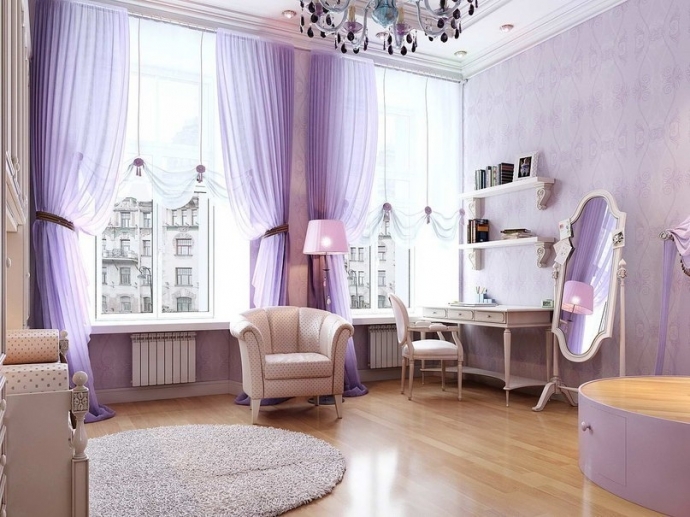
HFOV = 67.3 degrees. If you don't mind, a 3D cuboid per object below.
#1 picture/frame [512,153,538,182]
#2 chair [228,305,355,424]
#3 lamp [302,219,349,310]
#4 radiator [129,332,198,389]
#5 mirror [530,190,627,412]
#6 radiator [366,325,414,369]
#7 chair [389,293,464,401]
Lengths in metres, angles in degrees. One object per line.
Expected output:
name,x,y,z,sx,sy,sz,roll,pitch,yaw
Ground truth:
picture/frame,1.927,-0.983,5.546,0.051,0.428,0.331,11,-5,-27
chair,-0.508,0.897,4.750,0.958,1.029,0.955,3,-12,-15
lamp,-0.202,0.080,5.404,0.439,0.972,0.442,0,2,-4
radiator,-1.844,1.020,5.174,0.498,0.527,0.051,1,-1,-30
mirror,2.241,0.408,4.822,0.715,2.065,0.497,2,3,42
radiator,0.484,1.006,5.861,0.502,0.618,0.092,1,-3,-33
chair,0.781,0.981,5.799,0.871,1.454,0.884,0,-5,-4
